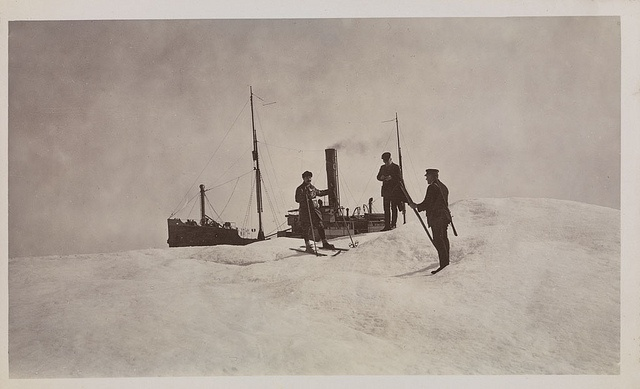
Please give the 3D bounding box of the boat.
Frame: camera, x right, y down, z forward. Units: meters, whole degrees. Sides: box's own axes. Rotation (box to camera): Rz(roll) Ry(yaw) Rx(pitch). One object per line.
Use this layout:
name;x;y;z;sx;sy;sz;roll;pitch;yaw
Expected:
boat;-0.676;-0.362;8.030;2.791;2.239;0.468;0;0;3

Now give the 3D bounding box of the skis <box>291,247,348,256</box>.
skis;-0.023;0.803;8.087;0.829;0.096;0.148;0;0;9

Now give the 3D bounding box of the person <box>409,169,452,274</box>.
person;1.530;0.346;7.829;0.488;1.397;0.335;0;0;13
